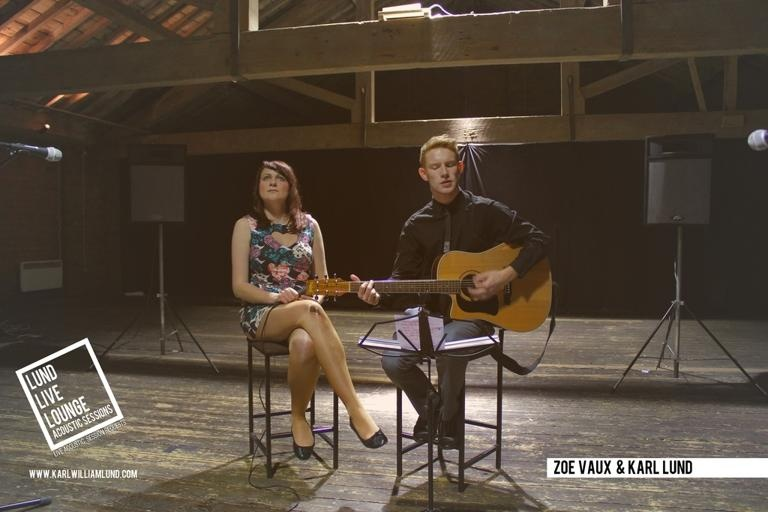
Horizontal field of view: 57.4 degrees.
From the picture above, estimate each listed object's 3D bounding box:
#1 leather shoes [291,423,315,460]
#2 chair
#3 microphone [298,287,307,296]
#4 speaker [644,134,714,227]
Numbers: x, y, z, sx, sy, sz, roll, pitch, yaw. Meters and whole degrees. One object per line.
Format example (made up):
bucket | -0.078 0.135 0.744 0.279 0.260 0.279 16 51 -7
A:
leather shoes | -0.714 1.632 6.148 0.202 0.332 0.199 1 6 -9
chair | 0.551 1.293 6.094 0.845 1.277 0.837 -4 2 -8
microphone | -0.720 0.290 6.158 0.068 0.109 0.215 0 6 -13
speaker | 3.183 -0.839 8.123 0.867 1.176 0.850 0 -1 18
